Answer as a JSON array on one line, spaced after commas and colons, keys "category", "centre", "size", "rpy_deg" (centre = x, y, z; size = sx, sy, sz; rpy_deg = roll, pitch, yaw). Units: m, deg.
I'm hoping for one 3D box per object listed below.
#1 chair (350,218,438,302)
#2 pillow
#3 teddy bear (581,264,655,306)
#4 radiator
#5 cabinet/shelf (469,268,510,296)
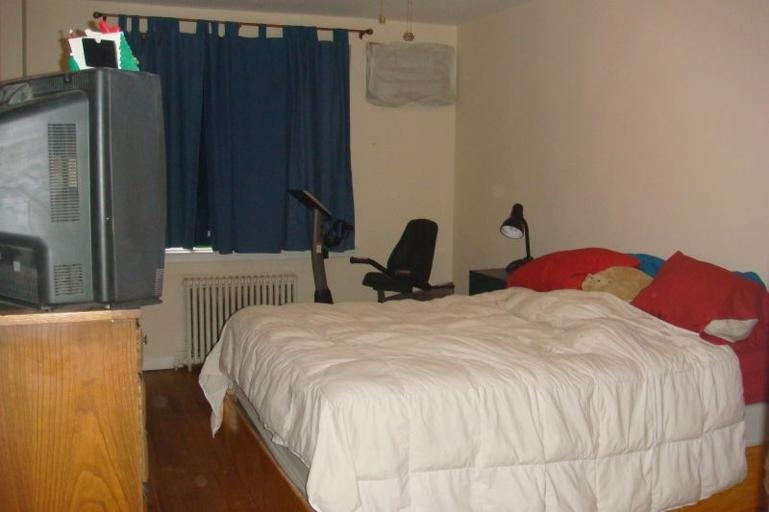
[{"category": "chair", "centre": [0.096, 0.030, 5.609], "size": [0.760, 0.758, 0.556], "rpy_deg": [-4, -13, 24]}, {"category": "pillow", "centre": [1.480, 0.175, 3.719], "size": [0.767, 0.221, 0.610], "rpy_deg": [10, 8, 21]}, {"category": "teddy bear", "centre": [1.326, 0.148, 3.851], "size": [0.254, 0.105, 0.219], "rpy_deg": [-14, 15, 16]}, {"category": "radiator", "centre": [-1.080, 0.462, 4.610], "size": [0.769, 0.669, 0.107], "rpy_deg": [1, 7, -12]}, {"category": "cabinet/shelf", "centre": [0.789, 0.184, 5.026], "size": [0.210, 0.131, 0.199], "rpy_deg": [-2, 1, -28]}]
